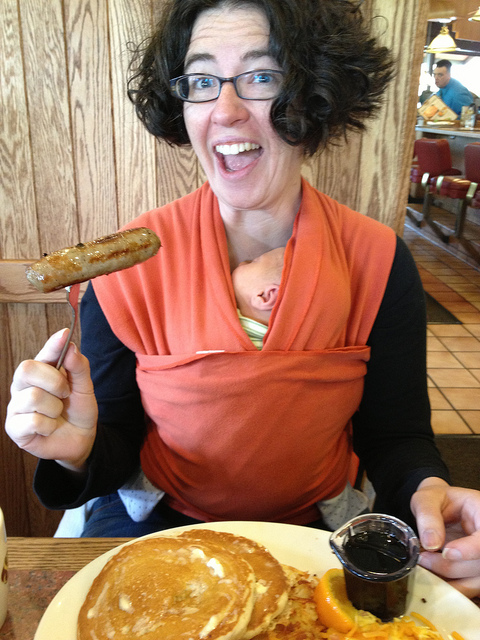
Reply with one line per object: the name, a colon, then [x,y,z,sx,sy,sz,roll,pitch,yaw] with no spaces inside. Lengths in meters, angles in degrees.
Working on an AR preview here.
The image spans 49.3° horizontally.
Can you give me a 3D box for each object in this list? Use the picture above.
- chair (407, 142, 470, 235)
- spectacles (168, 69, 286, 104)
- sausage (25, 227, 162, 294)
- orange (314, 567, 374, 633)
chair: [2.958,-1.838,7.571,0.850,1.025,0.844,7,12,0]
spectacles: [-0.042,-0.482,1.090,0.267,0.059,0.084,10,17,31]
sausage: [-0.297,-0.130,1.093,0.320,0.078,0.103,-25,38,-35]
orange: [0.148,0.400,0.743,0.058,0.036,0.058,29,18,-46]
